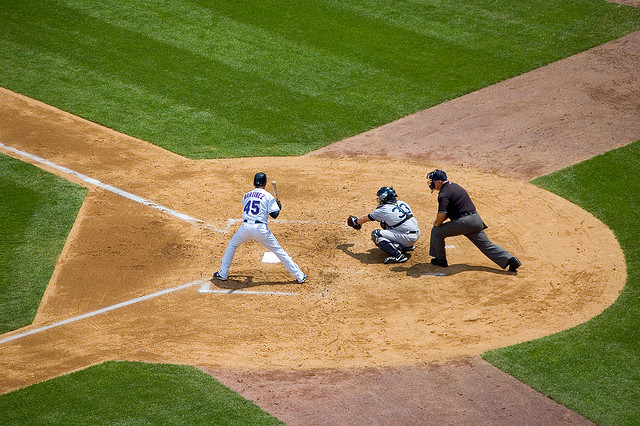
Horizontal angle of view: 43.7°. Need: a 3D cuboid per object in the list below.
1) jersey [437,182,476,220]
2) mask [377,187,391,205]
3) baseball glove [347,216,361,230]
[{"bbox_3d":[3.337,-0.280,19.743,1.113,0.731,0.592,-29,13,-26],"label":"jersey"},{"bbox_3d":[1.626,-0.483,20.098,0.471,0.326,0.361,7,17,28],"label":"mask"},{"bbox_3d":[0.873,0.226,20.237,0.459,0.262,0.227,22,34,-17],"label":"baseball glove"}]
